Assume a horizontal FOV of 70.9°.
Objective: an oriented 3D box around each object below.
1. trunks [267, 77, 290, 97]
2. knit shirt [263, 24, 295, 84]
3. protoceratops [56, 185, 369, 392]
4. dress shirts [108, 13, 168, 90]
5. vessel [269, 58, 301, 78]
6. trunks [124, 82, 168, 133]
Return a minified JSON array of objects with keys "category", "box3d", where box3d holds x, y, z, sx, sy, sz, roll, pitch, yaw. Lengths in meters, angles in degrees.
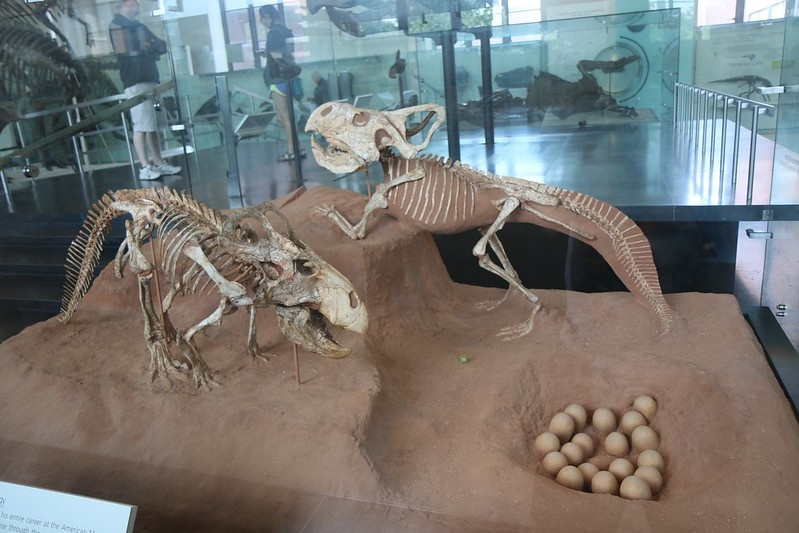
[{"category":"trunks","box3d":[-1.173,-1.731,5.454,0.174,0.136,0.142,11,30,28]},{"category":"knit shirt","box3d":[-1.162,-2.087,5.482,0.322,0.577,0.399,-7,44,-11]},{"category":"protoceratops","box3d":[-1.345,0.136,3.982,2.582,1.356,0.826,8,19,37]},{"category":"dress shirts","box3d":[-2.695,-2.251,5.804,0.532,0.735,0.415,8,23,-5]},{"category":"vessel","box3d":[-1.092,-1.882,5.371,0.272,0.152,0.078,2,20,2]},{"category":"trunks","box3d":[-2.631,-1.672,5.846,0.262,0.442,0.340,-8,23,-1]}]
